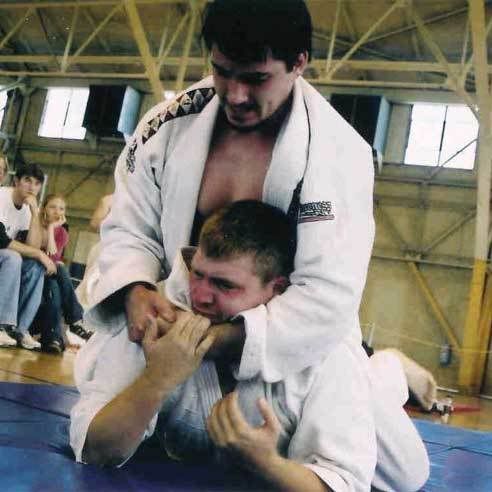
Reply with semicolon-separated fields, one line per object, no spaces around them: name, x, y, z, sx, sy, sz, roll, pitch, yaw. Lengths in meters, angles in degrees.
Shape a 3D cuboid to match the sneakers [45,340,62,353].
sneakers;-1.552;0.834;4.461;0.091;0.105;0.123;2;-46;2
